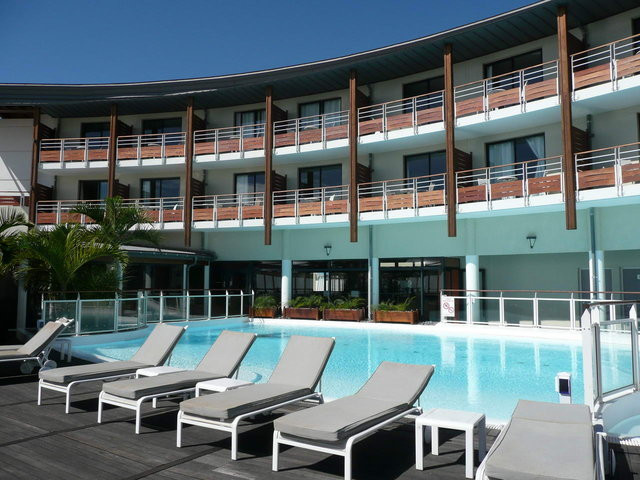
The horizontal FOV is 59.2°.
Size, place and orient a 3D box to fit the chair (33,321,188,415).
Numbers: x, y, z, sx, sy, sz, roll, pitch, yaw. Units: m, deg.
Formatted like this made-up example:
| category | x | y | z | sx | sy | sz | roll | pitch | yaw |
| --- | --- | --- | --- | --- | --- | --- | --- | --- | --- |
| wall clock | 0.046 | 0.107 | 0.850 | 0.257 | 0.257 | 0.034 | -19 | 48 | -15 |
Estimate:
| category | x | y | z | sx | sy | sz | roll | pitch | yaw |
| --- | --- | --- | --- | --- | --- | --- | --- | --- | --- |
| chair | -3.789 | 2.293 | 10.829 | 1.279 | 1.455 | 2.750 | -5 | -8 | 43 |
